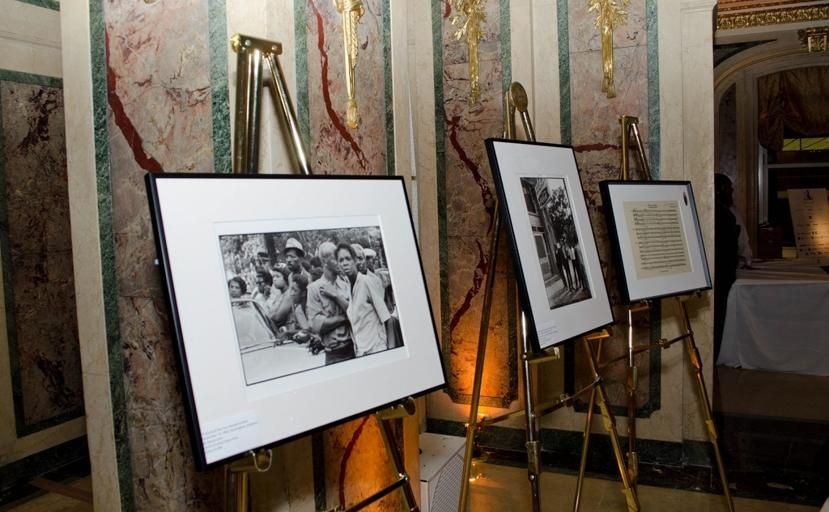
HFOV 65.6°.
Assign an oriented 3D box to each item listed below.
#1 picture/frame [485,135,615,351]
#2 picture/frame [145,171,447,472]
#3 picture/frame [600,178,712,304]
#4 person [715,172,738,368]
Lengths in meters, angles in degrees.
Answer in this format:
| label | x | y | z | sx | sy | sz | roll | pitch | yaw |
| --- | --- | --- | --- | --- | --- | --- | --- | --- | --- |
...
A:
| label | x | y | z | sx | sy | sz | roll | pitch | yaw |
| --- | --- | --- | --- | --- | --- | --- | --- | --- | --- |
| picture/frame | 0.636 | -0.094 | 2.965 | 0.562 | 0.902 | 0.308 | -11 | 13 | -35 |
| picture/frame | -0.446 | 0.227 | 2.246 | 1.203 | 1.049 | 0.086 | -14 | -4 | -40 |
| picture/frame | 1.326 | -0.103 | 3.463 | 0.070 | 0.585 | 0.659 | -14 | 6 | -17 |
| person | 2.597 | 0.134 | 5.396 | 0.195 | 1.563 | 0.727 | 2 | 12 | 26 |
